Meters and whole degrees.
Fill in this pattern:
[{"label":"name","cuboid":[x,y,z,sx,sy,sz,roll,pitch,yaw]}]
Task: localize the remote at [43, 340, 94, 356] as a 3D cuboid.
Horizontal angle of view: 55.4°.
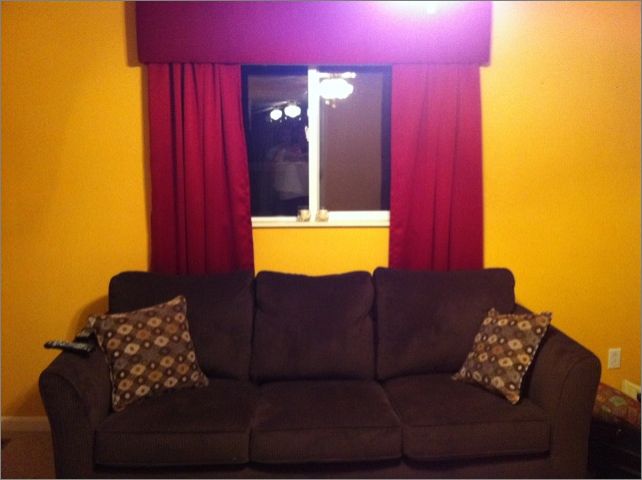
[{"label":"remote","cuboid":[-1.533,0.697,3.725,0.275,0.065,0.121,9,19,-20]}]
